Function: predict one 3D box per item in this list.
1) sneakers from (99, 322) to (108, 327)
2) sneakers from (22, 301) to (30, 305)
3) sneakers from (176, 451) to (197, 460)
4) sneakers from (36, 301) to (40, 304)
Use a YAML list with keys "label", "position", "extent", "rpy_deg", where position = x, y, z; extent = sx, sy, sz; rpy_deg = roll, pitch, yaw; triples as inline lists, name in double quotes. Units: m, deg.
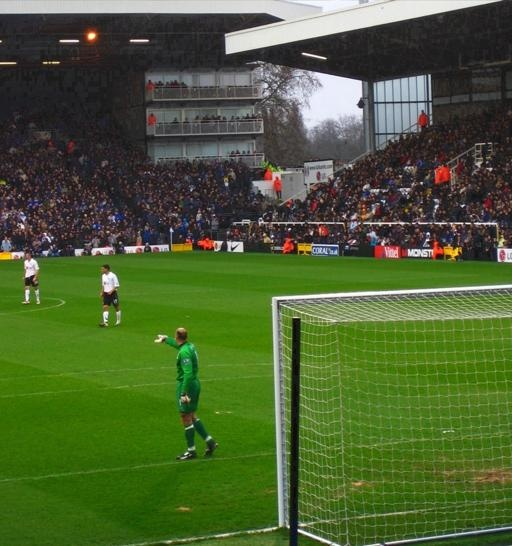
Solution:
- label: "sneakers"
  position: [-3.754, 1.241, 31.404]
  extent: [0.198, 0.085, 0.094]
  rpy_deg: [2, 5, -4]
- label: "sneakers"
  position: [-6.540, 0.791, 36.214]
  extent: [0.251, 0.143, 0.092]
  rpy_deg: [6, 11, 29]
- label: "sneakers"
  position: [-1.151, 2.966, 20.974]
  extent: [0.338, 0.177, 0.137]
  rpy_deg: [-2, 4, 24]
- label: "sneakers"
  position: [-6.201, 0.791, 36.293]
  extent: [0.065, 0.093, 0.196]
  rpy_deg: [0, -4, -7]
